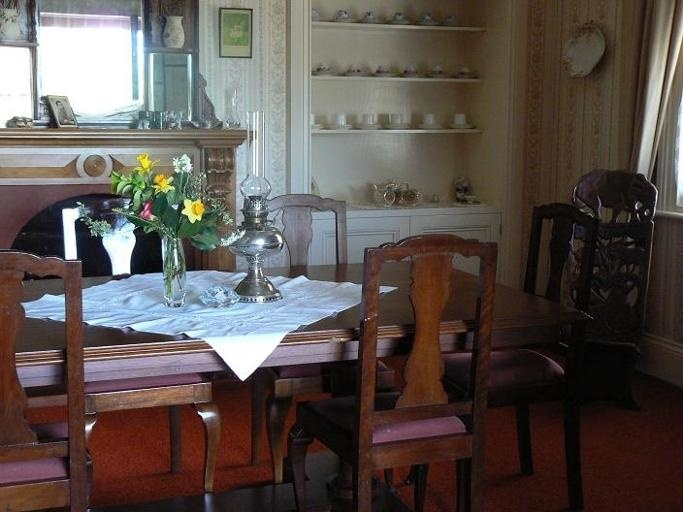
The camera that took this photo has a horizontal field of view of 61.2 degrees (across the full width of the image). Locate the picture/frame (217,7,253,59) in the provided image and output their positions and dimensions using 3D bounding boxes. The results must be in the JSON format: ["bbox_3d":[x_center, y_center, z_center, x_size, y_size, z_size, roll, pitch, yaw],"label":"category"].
[{"bbox_3d":[-0.765,-1.595,4.105,0.330,0.487,0.019,-1,5,-18],"label":"picture/frame"}]

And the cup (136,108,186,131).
[{"bbox_3d":[-1.219,-0.914,3.891,0.303,0.118,0.190,1,5,2],"label":"cup"}]

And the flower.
[{"bbox_3d":[-0.608,-0.101,2.179,0.448,0.553,0.232,3,11,9],"label":"flower"}]
